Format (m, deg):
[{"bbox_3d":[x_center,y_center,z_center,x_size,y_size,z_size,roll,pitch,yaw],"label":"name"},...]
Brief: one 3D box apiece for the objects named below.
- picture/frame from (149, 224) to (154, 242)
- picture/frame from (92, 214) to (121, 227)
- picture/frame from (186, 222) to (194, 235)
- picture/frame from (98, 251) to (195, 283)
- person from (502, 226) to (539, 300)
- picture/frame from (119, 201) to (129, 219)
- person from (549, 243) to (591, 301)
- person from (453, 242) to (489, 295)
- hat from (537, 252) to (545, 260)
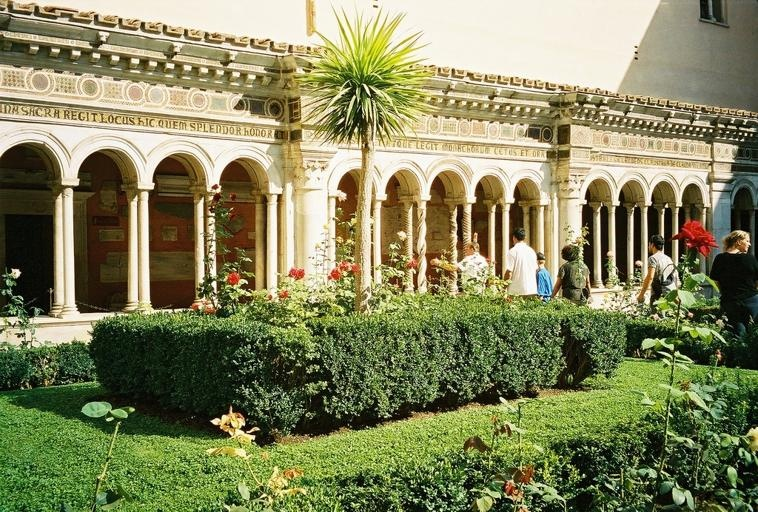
[{"bbox_3d":[-5.705,-0.570,19.517,0.161,0.410,0.079,4,-5,-44],"label":"picture/frame"},{"bbox_3d":[-6.688,-0.876,18.968,0.562,0.299,0.137,1,1,-30],"label":"picture/frame"},{"bbox_3d":[-4.871,-0.713,20.062,0.283,0.266,0.066,4,-7,-28],"label":"picture/frame"},{"bbox_3d":[-5.790,0.265,19.566,2.363,0.859,0.130,3,-4,-35],"label":"picture/frame"},{"bbox_3d":[2.933,0.392,15.961,0.763,1.913,0.593,-8,22,-18],"label":"person"},{"bbox_3d":[-6.338,-1.114,19.209,0.185,0.387,0.045,4,-5,-44],"label":"picture/frame"},{"bbox_3d":[3.721,0.347,15.023,0.693,1.194,1.729,0,-4,14],"label":"person"},{"bbox_3d":[1.882,0.195,15.437,0.591,1.105,2.121,0,-3,7],"label":"person"},{"bbox_3d":[3.668,0.011,17.529,0.262,0.149,0.200,0,0,-44],"label":"hat"}]
